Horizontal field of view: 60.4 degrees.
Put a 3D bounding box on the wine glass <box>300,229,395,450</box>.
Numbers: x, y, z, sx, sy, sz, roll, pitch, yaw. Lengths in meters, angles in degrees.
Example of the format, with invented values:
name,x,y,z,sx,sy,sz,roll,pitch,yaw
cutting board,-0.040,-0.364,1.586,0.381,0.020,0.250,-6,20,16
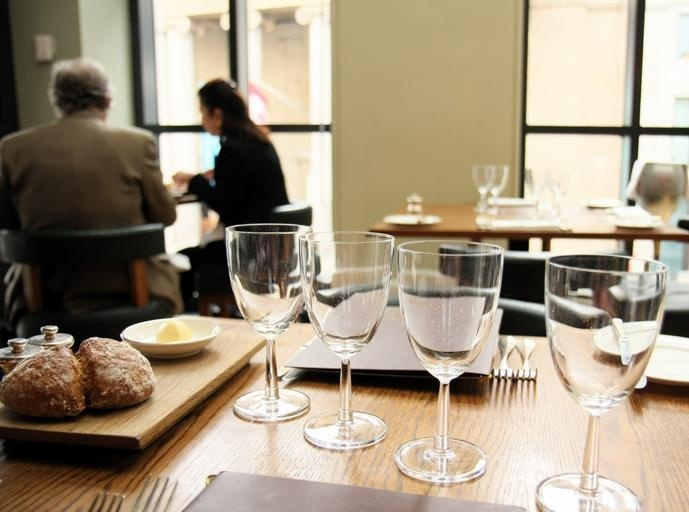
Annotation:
name,x,y,z,sx,sy,sz,roll,pitch,yaw
wine glass,0.007,0.083,0.773,0.110,0.247,0.225,0,14,5

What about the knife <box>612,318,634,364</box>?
name,x,y,z,sx,sy,sz,roll,pitch,yaw
knife,0.272,0.085,0.584,0.011,0.059,0.008,-5,-29,9

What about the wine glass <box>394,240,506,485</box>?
name,x,y,z,sx,sy,sz,roll,pitch,yaw
wine glass,0.109,0.117,0.649,0.110,0.249,0.090,3,15,15

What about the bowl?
name,x,y,z,sx,sy,sz,roll,pitch,yaw
bowl,-0.275,0.126,0.934,0.086,0.026,0.090,0,12,0

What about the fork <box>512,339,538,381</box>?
name,x,y,z,sx,sy,sz,roll,pitch,yaw
fork,0.279,0.155,0.919,0.035,0.018,0.151,-5,12,19

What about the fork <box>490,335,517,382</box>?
name,x,y,z,sx,sy,sz,roll,pitch,yaw
fork,0.253,0.155,0.932,0.026,0.021,0.113,1,19,10

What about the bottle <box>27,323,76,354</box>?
name,x,y,z,sx,sy,sz,roll,pitch,yaw
bottle,-0.419,0.116,0.869,0.077,0.033,0.079,4,2,0
